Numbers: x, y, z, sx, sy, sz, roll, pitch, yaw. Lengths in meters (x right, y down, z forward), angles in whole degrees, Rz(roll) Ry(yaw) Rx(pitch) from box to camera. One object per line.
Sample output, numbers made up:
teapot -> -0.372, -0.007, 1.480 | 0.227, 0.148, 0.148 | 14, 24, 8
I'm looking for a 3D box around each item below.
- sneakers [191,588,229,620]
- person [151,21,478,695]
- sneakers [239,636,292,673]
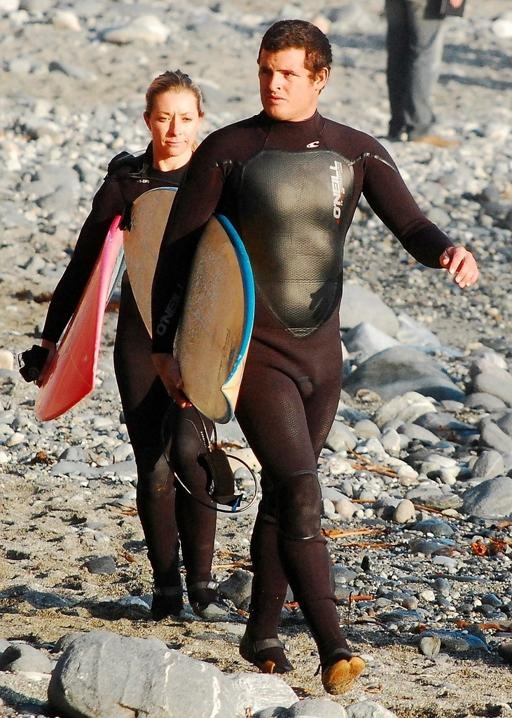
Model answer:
sneakers -> -0.139, 0.713, 2.770 | 0.059, 0.057, 0.135 | -5, 16, -24
person -> 0.165, -0.016, 2.161 | 0.534, 1.532, 0.725 | -4, 12, -39
sneakers -> 0.011, 0.687, 2.236 | 0.057, 0.053, 0.147 | -17, 30, -34
